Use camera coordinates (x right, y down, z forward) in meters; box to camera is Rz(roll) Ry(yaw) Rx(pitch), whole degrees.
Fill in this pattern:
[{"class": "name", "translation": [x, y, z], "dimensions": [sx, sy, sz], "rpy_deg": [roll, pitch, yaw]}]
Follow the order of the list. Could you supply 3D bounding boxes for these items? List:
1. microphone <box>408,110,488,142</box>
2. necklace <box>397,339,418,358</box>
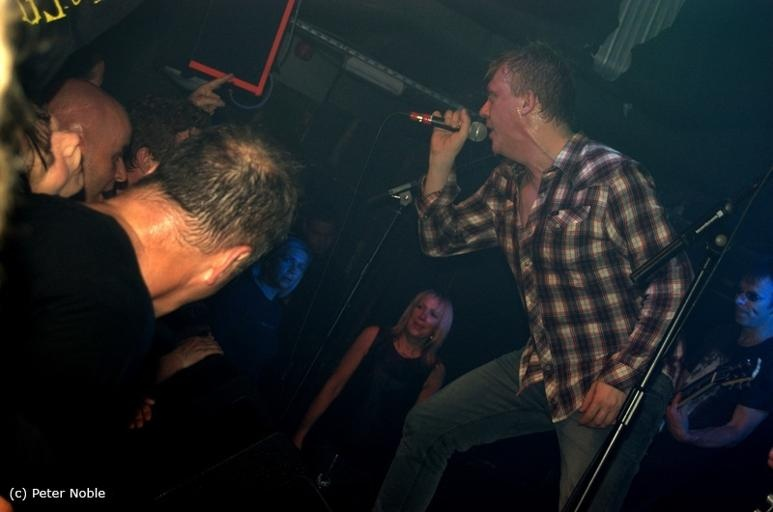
[{"class": "microphone", "translation": [0.423, -0.826, 4.234], "dimensions": [0.421, 0.107, 0.122], "rpy_deg": [20, -15, -15]}, {"class": "necklace", "translation": [0.148, 0.606, 4.448], "dimensions": [0.126, 0.119, 0.091], "rpy_deg": [20, 56, 11]}]
